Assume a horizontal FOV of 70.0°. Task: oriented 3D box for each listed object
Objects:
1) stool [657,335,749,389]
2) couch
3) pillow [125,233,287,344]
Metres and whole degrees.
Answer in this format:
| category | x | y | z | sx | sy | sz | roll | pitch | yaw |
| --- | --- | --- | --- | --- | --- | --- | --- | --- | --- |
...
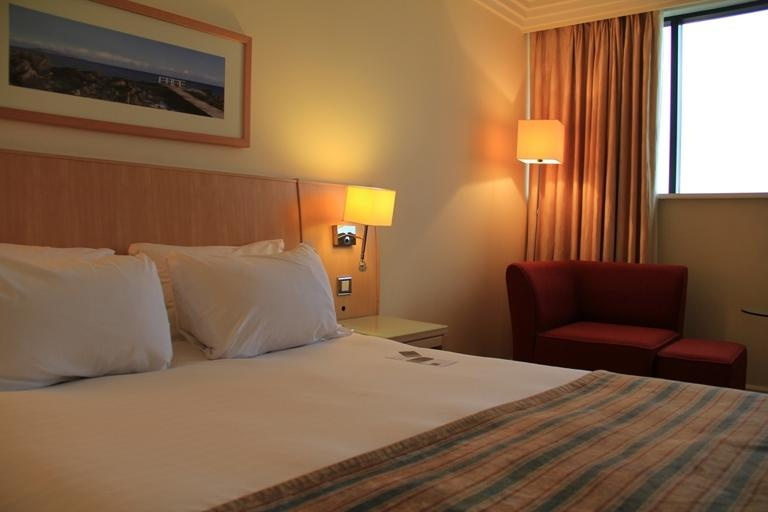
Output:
| category | x | y | z | sx | sy | sz | roll | pitch | yaw |
| --- | --- | --- | --- | --- | --- | --- | --- | --- | --- |
| stool | 2.037 | 0.605 | 3.466 | 0.360 | 0.310 | 0.365 | 0 | -1 | 42 |
| couch | 1.576 | 0.426 | 4.027 | 0.937 | 0.836 | 0.914 | -1 | -5 | 34 |
| pillow | -0.946 | 0.183 | 2.718 | 0.157 | 0.555 | 0.499 | -20 | -14 | 34 |
